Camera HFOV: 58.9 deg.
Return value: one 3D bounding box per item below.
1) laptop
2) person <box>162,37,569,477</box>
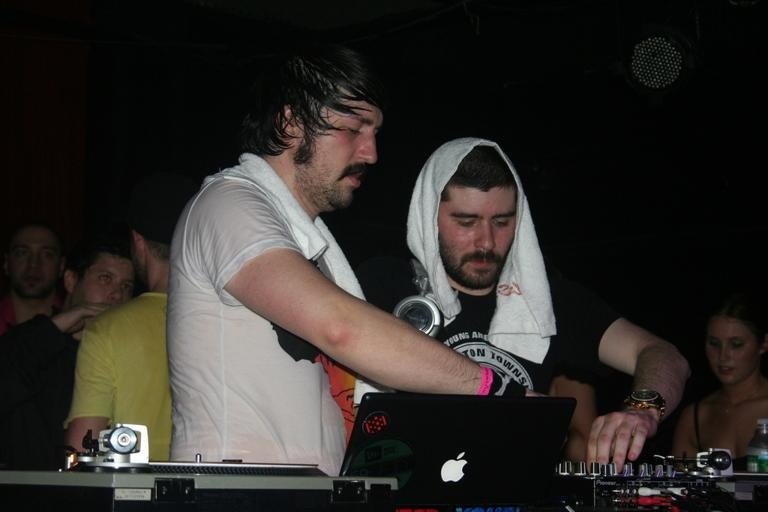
[{"bbox_3d":[0.243,0.611,2.165,0.617,0.369,0.408,5,13,-13],"label":"laptop"},{"bbox_3d":[-0.313,-0.039,2.586,0.953,1.709,0.846,7,-7,-13],"label":"person"}]
